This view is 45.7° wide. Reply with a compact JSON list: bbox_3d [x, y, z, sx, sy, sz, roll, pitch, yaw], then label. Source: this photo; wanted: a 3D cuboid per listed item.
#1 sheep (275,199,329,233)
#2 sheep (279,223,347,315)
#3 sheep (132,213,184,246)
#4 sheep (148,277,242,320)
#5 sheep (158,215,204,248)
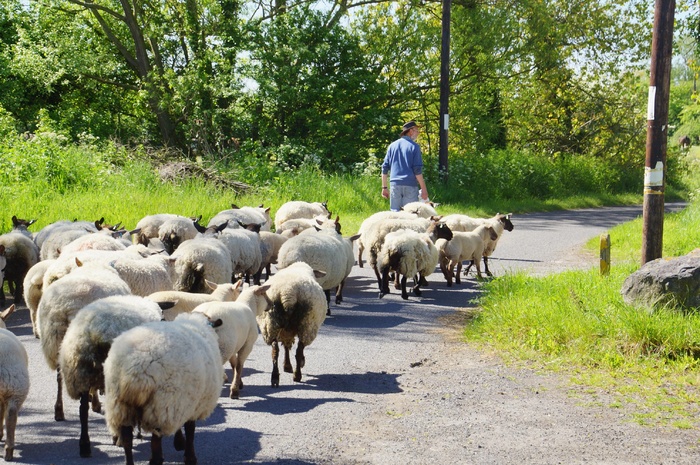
[{"bbox_3d":[-1.215,-0.602,22.453,1.630,1.089,0.719,-9,30,-26],"label":"sheep"},{"bbox_3d":[-0.729,0.872,17.902,1.066,1.766,1.727,0,0,39],"label":"sheep"},{"bbox_3d":[-4.846,-0.119,19.837,1.256,0.850,0.527,-11,17,-31],"label":"sheep"},{"bbox_3d":[-2.871,1.295,15.533,1.834,0.920,0.697,-3,8,-33],"label":"sheep"},{"bbox_3d":[-4.235,-0.018,19.329,0.581,0.890,1.300,6,12,31],"label":"sheep"}]
